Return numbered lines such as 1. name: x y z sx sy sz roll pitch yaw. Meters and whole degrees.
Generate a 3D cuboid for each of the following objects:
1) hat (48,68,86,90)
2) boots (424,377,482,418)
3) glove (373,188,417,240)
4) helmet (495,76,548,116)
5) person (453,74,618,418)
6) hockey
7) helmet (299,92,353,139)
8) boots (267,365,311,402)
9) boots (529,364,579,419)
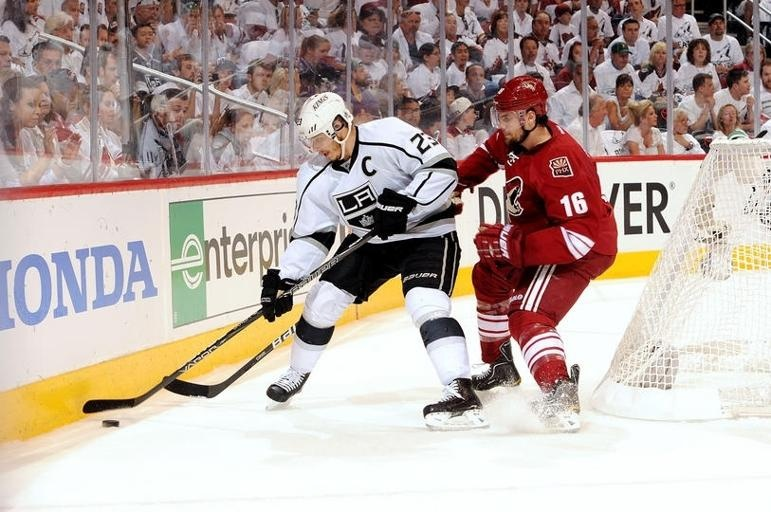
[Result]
1. hat: -1.937 -1.082 5.451 0.125 0.110 0.168 9 16 38
2. boots: 0.349 0.734 4.650 0.355 0.215 0.119 4 -16 -27
3. glove: 0.050 -0.224 4.749 0.233 0.258 0.096 -2 12 0
4. helmet: 0.732 -0.863 4.765 0.238 0.236 0.199 2 15 9
5. person: 0.855 -0.069 4.862 0.681 1.777 1.100 -5 12 -14
6. hockey: -0.970 0.393 5.308 1.301 0.100 0.353 -38 14 -24
7. helmet: -0.339 -0.724 4.844 0.317 0.254 0.231 -11 9 -38
8. boots: -0.541 0.729 5.148 0.110 0.132 0.345 23 12 19
9. boots: 0.864 0.685 4.519 0.187 0.239 0.104 -9 -7 -8
